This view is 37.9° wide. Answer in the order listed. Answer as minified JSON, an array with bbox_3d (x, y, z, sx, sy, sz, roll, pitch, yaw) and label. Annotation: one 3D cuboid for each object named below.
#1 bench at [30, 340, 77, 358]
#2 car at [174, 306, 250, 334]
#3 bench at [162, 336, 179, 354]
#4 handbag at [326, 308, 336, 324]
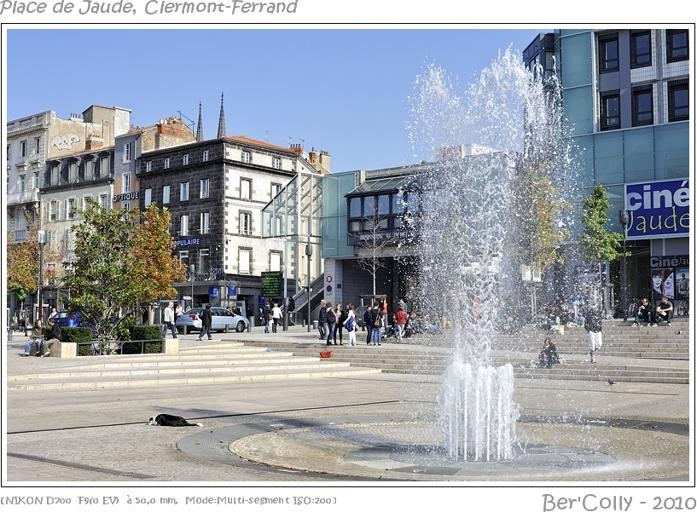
[{"bbox_3d":[-10.596,3.375,37.250,1.278,0.646,0.585,-2,-7,11],"label":"bench"},{"bbox_3d":[-7.191,3.408,53.524,3.106,0.979,1.448,-1,0,-42],"label":"car"},{"bbox_3d":[-6.903,3.444,39.417,0.573,0.573,0.568,-1,2,6],"label":"bench"},{"bbox_3d":[-0.647,2.417,41.906,0.459,0.896,0.634,-1,0,4],"label":"handbag"}]
